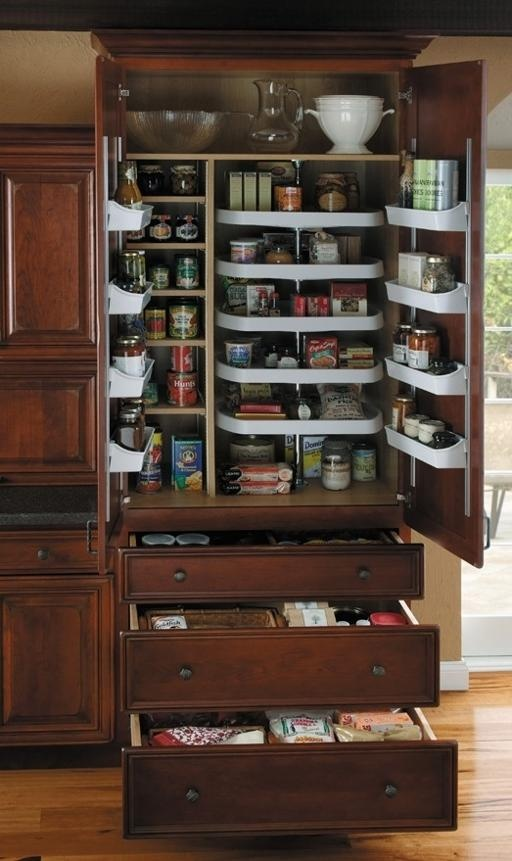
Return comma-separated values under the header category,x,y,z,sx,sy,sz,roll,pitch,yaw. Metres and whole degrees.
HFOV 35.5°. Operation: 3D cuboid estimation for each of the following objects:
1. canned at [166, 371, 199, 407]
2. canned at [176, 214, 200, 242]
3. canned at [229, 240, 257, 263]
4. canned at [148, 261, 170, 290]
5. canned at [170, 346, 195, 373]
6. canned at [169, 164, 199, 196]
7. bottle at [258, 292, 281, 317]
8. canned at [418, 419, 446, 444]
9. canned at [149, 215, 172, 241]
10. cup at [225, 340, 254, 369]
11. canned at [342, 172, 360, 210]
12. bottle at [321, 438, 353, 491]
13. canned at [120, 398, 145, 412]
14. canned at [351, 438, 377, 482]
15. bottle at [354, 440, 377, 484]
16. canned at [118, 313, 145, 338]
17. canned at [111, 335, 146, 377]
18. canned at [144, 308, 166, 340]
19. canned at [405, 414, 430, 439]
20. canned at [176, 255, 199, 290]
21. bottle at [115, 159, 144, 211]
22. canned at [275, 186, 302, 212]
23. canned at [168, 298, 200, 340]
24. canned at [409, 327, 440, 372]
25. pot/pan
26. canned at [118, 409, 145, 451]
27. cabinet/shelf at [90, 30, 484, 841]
category,x,y,z,sx,sy,sz,roll,pitch,yaw
canned,-0.218,-0.120,2.361,0.093,0.105,0.094,2,4,39
canned,-0.195,-0.565,2.261,0.068,0.068,0.070,3,7,28
canned,-0.038,-0.510,2.263,0.067,0.052,0.066,-3,16,-10
canned,-0.270,-0.441,2.301,0.073,0.085,0.075,-1,3,-4
canned,-0.215,-0.211,2.397,0.074,0.091,0.077,0,5,1
canned,-0.203,-0.695,2.234,0.089,0.092,0.091,-2,11,-9
bottle,0.034,-0.355,2.266,0.083,0.084,0.046,-3,3,-29
canned,0.428,0.002,1.954,0.053,0.044,0.054,1,4,-2
canned,-0.269,-0.566,2.241,0.054,0.074,0.074,0,3,-5
cup,-0.050,-0.215,2.273,0.079,0.069,0.076,-1,8,0
canned,0.270,-0.668,2.252,0.064,0.086,0.088,-1,12,0
bottle,0.214,0.111,2.359,0.122,0.198,0.124,0,-2,0
canned,-0.311,-0.069,1.996,0.044,0.044,0.045,-1,4,-17
canned,0.332,0.102,2.515,0.098,0.112,0.099,-2,3,-31
bottle,0.331,0.107,2.460,0.096,0.110,0.099,0,3,2
canned,-0.320,-0.267,2.045,0.063,0.056,0.135,-2,8,-10
canned,-0.299,-0.174,1.932,0.072,0.103,0.097,0,1,-1
canned,-0.287,-0.303,2.292,0.075,0.089,0.076,2,9,8
canned,0.406,-0.013,2.041,0.054,0.050,0.055,-5,11,-24
canned,-0.194,-0.448,2.273,0.086,0.132,0.089,0,4,-3
bottle,-0.305,-0.573,1.877,0.052,0.111,0.096,-1,8,-1
canned,0.088,-0.638,2.202,0.071,0.073,0.072,-1,2,-7
canned,-0.206,-0.322,2.295,0.101,0.118,0.103,4,8,29
canned,0.406,-0.200,1.989,0.085,0.102,0.094,0,1,5
pot/pan,-0.191,-0.840,2.326,0.205,0.081,0.266,0,3,11
canned,-0.305,-0.004,1.952,0.056,0.102,0.077,-2,8,-9
cabinet/shelf,0.046,-0.031,2.134,0.933,1.985,1.063,-2,8,-11
